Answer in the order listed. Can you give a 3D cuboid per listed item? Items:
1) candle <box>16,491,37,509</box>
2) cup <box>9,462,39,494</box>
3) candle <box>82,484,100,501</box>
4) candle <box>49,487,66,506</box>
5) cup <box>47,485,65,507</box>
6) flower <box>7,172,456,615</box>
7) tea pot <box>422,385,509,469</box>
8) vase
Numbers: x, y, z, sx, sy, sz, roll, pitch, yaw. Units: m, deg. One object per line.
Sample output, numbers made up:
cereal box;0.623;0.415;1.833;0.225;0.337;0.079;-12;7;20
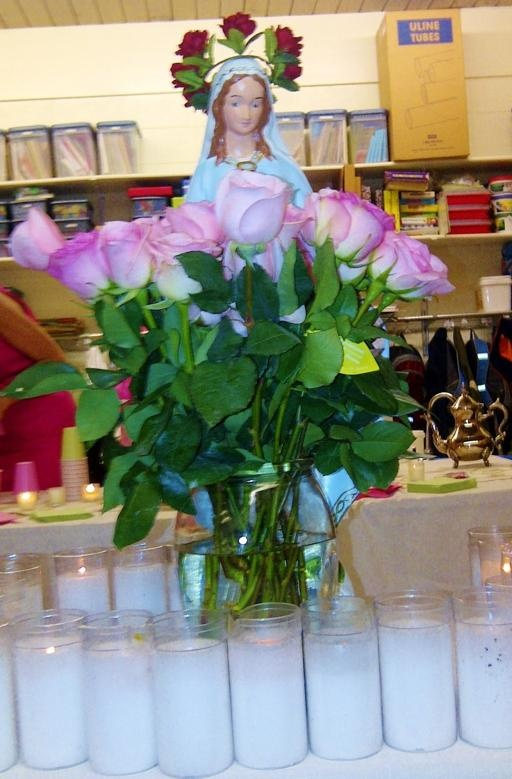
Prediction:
candle;-0.545;0.265;1.511;0.042;0.036;0.040;-1;-2;-7
cup;-0.555;0.221;1.537;0.072;0.071;0.073;-1;-7;0
candle;-0.393;0.251;1.542;0.045;0.039;0.043;0;-7;5
candle;-0.471;0.258;1.504;0.038;0.037;0.040;-1;-4;-1
cup;-0.491;0.263;1.538;0.047;0.041;0.040;-1;5;-3
flower;0.008;-0.026;0.554;0.364;0.349;0.313;-1;-2;-2
tea pot;0.735;0.137;2.220;0.363;0.320;0.175;-3;12;4
vase;0.004;0.113;0.481;0.121;0.155;0.117;-3;-9;-5
